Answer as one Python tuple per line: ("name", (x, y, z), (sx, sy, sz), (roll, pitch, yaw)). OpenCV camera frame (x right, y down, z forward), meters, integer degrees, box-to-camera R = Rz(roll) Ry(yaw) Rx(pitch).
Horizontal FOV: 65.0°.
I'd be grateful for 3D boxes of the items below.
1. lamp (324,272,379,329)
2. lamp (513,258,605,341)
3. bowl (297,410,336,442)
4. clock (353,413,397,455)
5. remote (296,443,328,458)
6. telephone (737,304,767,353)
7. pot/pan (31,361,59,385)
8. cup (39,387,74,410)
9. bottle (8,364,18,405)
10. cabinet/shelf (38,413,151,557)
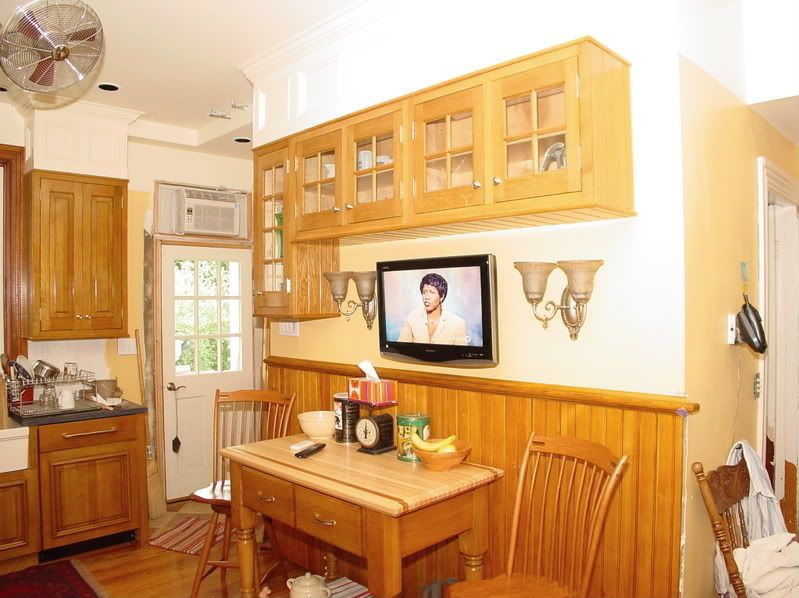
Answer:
("lamp", (-0.286, 0.017, 3.907), (0.333, 0.355, 0.279), (-1, 0, 9))
("lamp", (0.788, 0.030, 3.034), (0.459, 0.384, 0.305), (0, -2, 43))
("bowl", (-0.505, 0.762, 3.760), (0.173, 0.098, 0.179), (-1, -3, 0))
("clock", (-0.133, 0.761, 3.492), (0.176, 0.227, 0.209), (-2, -7, 38))
("remote", (-0.489, 0.836, 3.467), (0.050, 0.031, 0.171), (1, 3, 23))
("telephone", (1.838, 0.168, 3.265), (0.079, 0.258, 0.173), (-11, -22, 33))
("pot/pan", (-2.608, 0.547, 4.627), (0.154, 0.143, 0.157), (17, -5, -17))
("cup", (-2.475, 0.727, 4.571), (0.156, 0.166, 0.226), (2, 1, 22))
("bottle", (-2.840, 0.627, 4.612), (0.068, 0.297, 0.387), (-1, 0, -32))
("cabinet/shelf", (-2.268, 1.338, 4.817), (0.801, 1.214, 0.738), (2, -5, -38))
